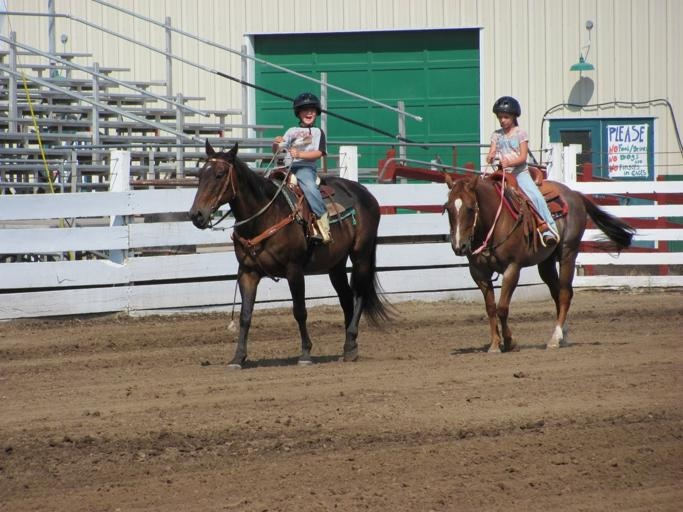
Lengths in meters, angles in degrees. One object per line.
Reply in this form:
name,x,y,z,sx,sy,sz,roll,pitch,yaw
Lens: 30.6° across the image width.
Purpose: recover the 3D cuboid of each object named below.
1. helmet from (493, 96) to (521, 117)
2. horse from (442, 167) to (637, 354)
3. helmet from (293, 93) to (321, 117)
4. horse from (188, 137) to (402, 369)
helmet,2.795,-2.465,20.925,0.335,0.403,0.471,6,19,22
horse,3.574,0.109,21.667,4.483,3.045,1.037,-1,-4,-39
helmet,-0.594,-2.454,20.279,0.326,0.329,0.382,0,-1,-7
horse,-0.662,0.049,20.776,1.194,3.546,4.318,-2,-3,44
